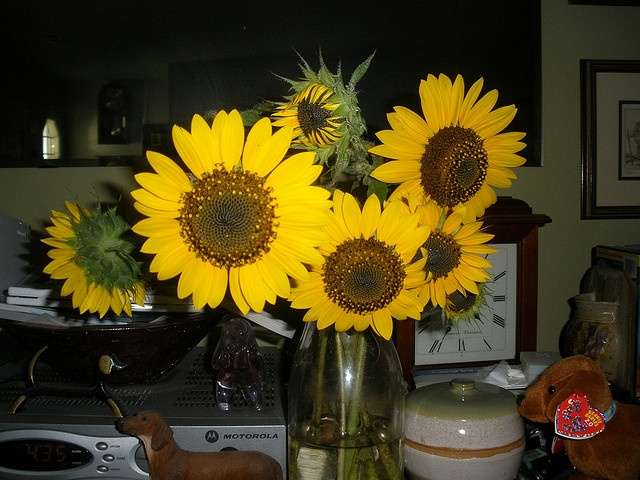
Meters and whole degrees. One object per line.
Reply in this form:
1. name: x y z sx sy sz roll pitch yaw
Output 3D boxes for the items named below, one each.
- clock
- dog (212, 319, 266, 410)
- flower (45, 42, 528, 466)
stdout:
1. clock: 0.384 0.163 1.503 0.316 0.073 0.563 -6 30 23
2. dog: -0.146 0.226 1.049 0.098 0.174 0.094 0 6 -3
3. flower: 0.045 -0.008 0.977 0.460 0.502 0.246 20 2 -13
